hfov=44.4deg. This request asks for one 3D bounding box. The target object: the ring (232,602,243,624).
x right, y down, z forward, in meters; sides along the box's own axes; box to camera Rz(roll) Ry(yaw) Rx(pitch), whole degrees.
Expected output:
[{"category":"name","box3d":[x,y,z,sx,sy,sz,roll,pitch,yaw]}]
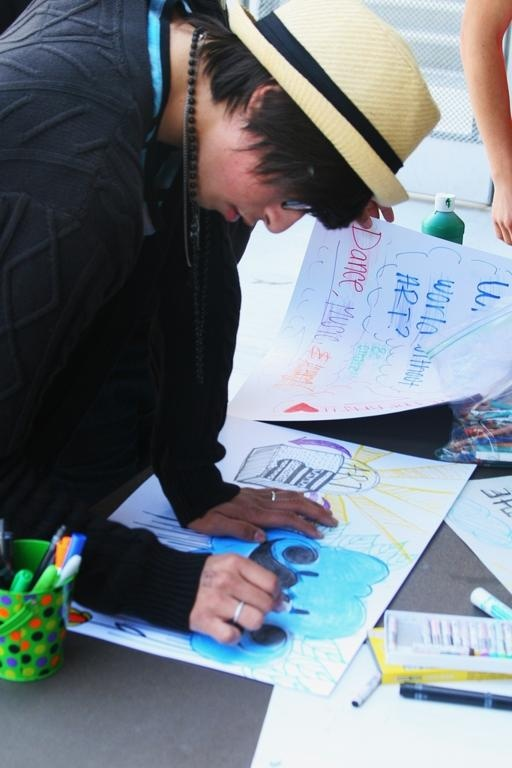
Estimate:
[{"category":"ring","box3d":[-0.015,0.180,0.496,0.004,0.013,0.012,17,65,-4]}]

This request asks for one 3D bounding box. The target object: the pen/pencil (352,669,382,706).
[{"category":"pen/pencil","box3d":[0.080,0.220,0.450,0.008,0.010,0.036,34,36,18]}]
